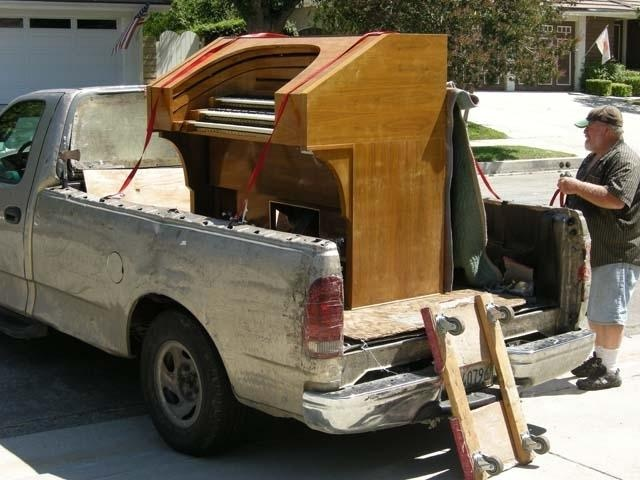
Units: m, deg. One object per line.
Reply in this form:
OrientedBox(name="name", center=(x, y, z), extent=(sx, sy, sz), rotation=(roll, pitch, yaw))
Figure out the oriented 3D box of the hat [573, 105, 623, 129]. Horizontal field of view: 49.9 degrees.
OrientedBox(name="hat", center=(2.322, -1.039, 5.741), extent=(0.348, 0.195, 0.234), rotation=(8, 14, 18))
